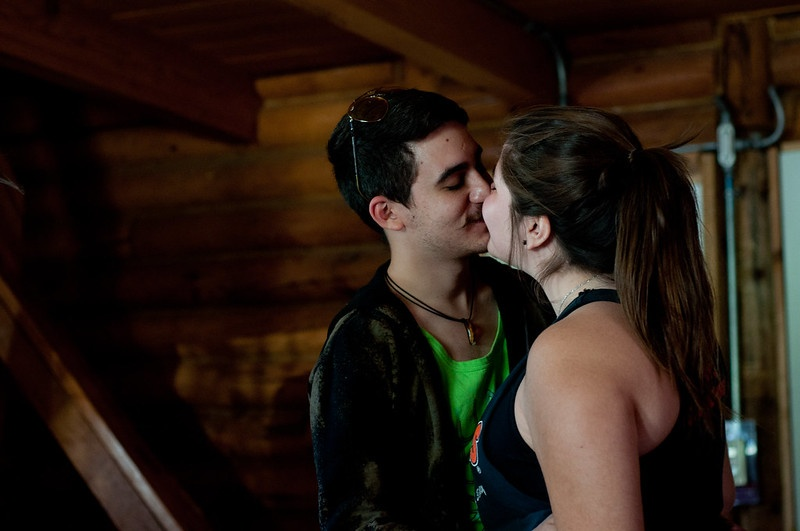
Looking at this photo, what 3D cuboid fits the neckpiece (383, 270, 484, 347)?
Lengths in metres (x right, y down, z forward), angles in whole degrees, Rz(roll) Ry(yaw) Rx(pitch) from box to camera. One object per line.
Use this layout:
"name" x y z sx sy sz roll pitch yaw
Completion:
"neckpiece" 0.122 0.139 2.638 0.393 0.123 0.092 30 15 5
